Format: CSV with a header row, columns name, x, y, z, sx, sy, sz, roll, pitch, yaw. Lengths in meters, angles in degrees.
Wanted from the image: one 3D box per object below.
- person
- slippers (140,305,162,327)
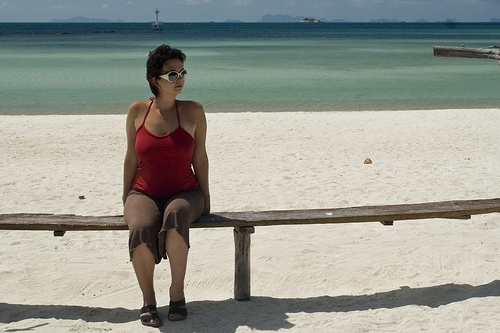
name,x,y,z,sx,sy,sz,roll,pitch,yaw
person,-1.147,0.225,9.138,1.219,3.762,1.193,0,12,-9
slippers,-1.341,2.028,8.943,0.325,0.275,0.157,2,12,4
